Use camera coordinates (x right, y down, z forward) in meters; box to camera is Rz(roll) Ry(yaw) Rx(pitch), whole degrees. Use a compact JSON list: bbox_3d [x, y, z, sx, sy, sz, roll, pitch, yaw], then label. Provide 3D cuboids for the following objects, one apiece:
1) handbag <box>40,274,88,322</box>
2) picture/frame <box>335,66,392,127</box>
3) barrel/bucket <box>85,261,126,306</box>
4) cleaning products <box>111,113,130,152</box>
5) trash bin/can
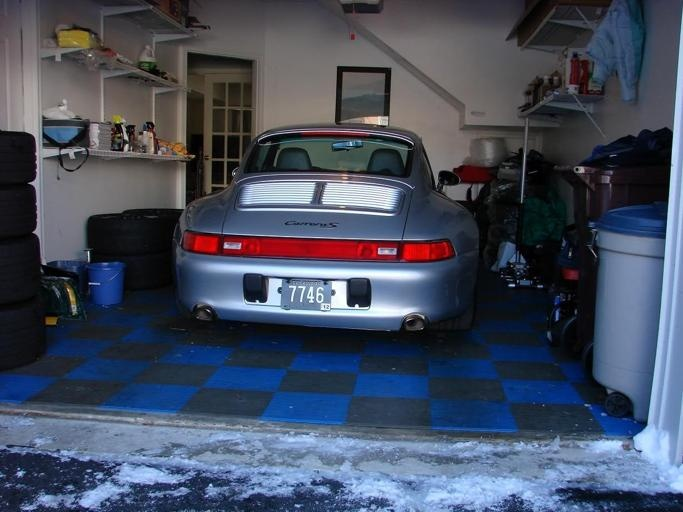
[{"bbox_3d":[-1.998,0.302,3.577,0.299,0.299,0.099,5,6,-4],"label":"handbag"},{"bbox_3d":[0.358,-2.665,8.058,0.906,0.864,0.111,3,11,5],"label":"picture/frame"},{"bbox_3d":[-1.982,0.236,4.159,0.267,0.331,0.254,2,10,0],"label":"barrel/bucket"},{"bbox_3d":[-2.312,-1.281,5.173,0.167,0.365,0.370,-2,10,-21],"label":"cleaning products"},{"bbox_3d":[1.337,0.289,2.347,0.350,0.970,0.162,11,14,38],"label":"trash bin/can"}]
